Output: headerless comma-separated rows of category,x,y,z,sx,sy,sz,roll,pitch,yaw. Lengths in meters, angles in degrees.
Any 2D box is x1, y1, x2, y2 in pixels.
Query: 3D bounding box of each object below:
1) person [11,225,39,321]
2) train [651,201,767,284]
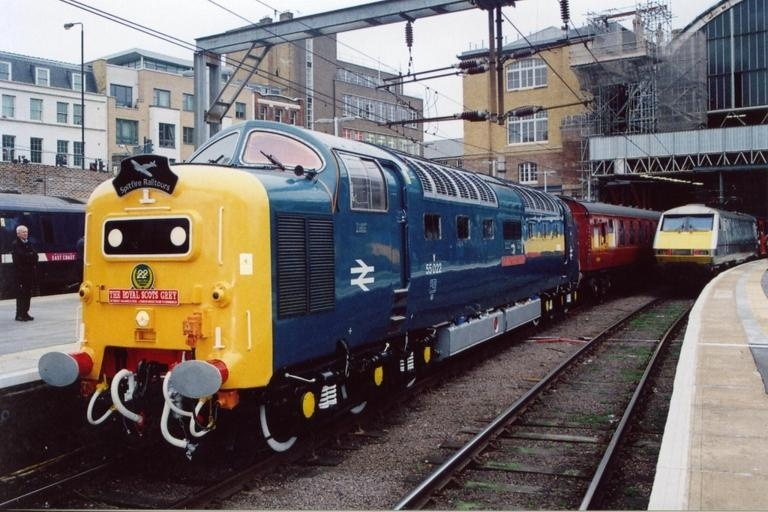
person,-8.308,0.356,14.603,0.508,2.100,1.477,-4,8,-30
train,15.970,-0.557,32.010,3.012,4.164,13.692,-3,-2,32
